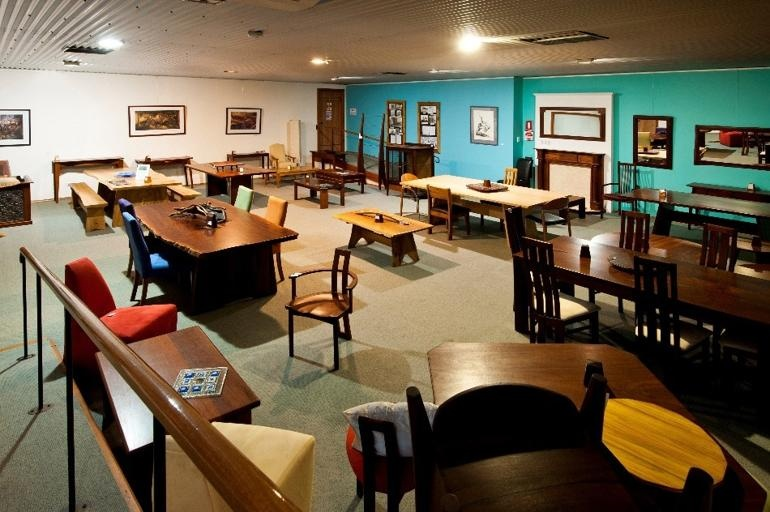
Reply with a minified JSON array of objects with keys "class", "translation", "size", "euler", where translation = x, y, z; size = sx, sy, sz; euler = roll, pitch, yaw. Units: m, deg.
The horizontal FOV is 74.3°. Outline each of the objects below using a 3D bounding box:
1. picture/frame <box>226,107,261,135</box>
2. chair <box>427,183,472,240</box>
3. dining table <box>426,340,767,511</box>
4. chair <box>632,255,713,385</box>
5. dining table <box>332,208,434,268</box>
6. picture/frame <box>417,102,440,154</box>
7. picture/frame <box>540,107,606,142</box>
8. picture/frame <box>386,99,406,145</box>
[{"class":"picture/frame","translation":[-4.045,-3.822,14.248],"size":[0.070,0.599,1.051],"euler":[11,13,43]},{"class":"chair","translation":[1.126,-0.819,8.953],"size":[0.946,0.773,0.852],"euler":[6,15,17]},{"class":"dining table","translation":[0.962,0.719,3.145],"size":[1.290,0.337,1.652],"euler":[-7,22,-16]},{"class":"chair","translation":[2.346,0.565,4.139],"size":[0.606,1.119,0.470],"euler":[-7,14,-24]},{"class":"dining table","translation":[-0.014,-0.287,7.612],"size":[0.759,0.705,1.329],"euler":[-14,19,-39]},{"class":"picture/frame","translation":[1.134,-3.354,13.220],"size":[0.142,1.299,0.852],"euler":[-14,20,-32]},{"class":"picture/frame","translation":[3.860,-2.742,10.500],"size":[1.731,0.640,0.063],"euler":[-4,8,-22]},{"class":"picture/frame","translation":[0.323,-3.658,14.141],"size":[0.112,1.278,0.801],"euler":[-17,27,-34]}]
